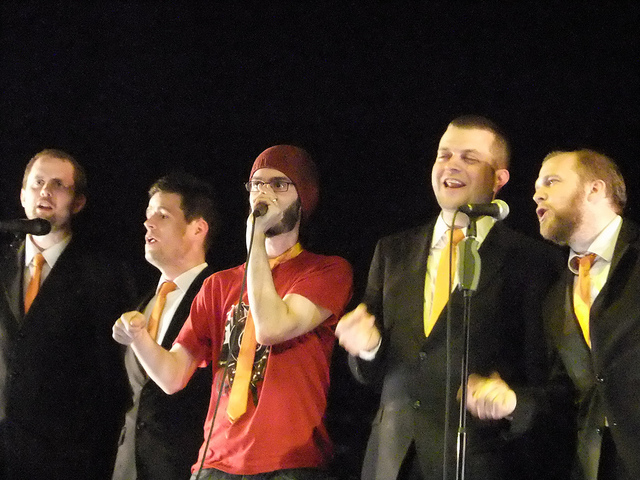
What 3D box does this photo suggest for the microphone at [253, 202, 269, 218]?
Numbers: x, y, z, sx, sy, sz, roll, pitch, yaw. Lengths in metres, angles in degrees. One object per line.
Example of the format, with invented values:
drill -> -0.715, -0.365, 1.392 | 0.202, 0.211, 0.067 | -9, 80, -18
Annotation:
microphone -> -0.252, -0.137, 3.116 | 0.055, 0.060, 0.090 | 8, 9, 9

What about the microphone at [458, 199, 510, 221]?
microphone -> 0.629, -0.127, 2.783 | 0.212, 0.081, 0.076 | -4, -9, -28

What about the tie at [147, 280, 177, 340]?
tie -> -0.813, 0.336, 3.748 | 0.089, 0.358, 0.068 | 19, -19, -25

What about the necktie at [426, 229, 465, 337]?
necktie -> 0.522, 0.168, 3.025 | 0.125, 0.474, 0.235 | 4, -4, 11

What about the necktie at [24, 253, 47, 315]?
necktie -> -1.501, 0.180, 3.831 | 0.038, 0.222, 0.029 | 6, -19, -8

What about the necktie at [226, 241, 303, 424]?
necktie -> -0.268, 0.386, 3.267 | 0.182, 0.821, 0.084 | 19, -24, -11

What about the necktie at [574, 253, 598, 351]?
necktie -> 1.099, 0.188, 3.029 | 0.073, 0.069, 0.451 | 10, 40, 21
